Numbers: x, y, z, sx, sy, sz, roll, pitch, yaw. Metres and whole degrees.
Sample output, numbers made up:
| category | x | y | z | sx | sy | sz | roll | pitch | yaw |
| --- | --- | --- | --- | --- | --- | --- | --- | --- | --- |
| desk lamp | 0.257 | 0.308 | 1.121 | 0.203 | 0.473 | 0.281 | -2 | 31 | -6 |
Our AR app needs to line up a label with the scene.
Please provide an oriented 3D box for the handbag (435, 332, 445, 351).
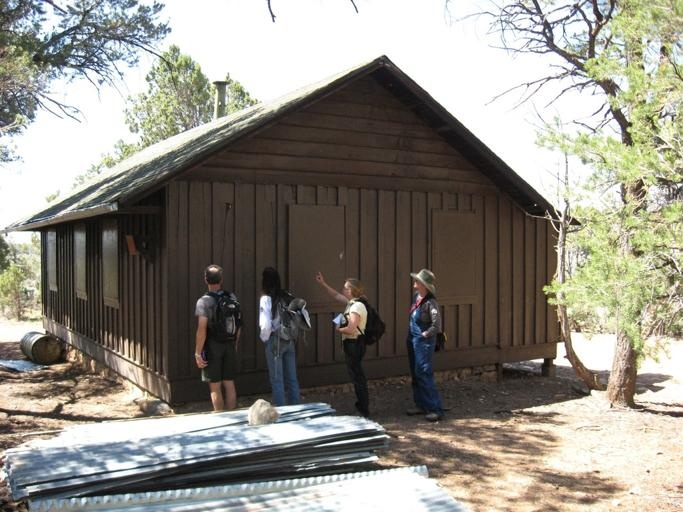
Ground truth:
| category | x | y | z | sx | sy | sz | roll | pitch | yaw |
| --- | --- | --- | --- | --- | --- | --- | --- | --- | --- |
| handbag | 1.549 | 1.339 | 11.177 | 0.134 | 0.282 | 0.311 | -3 | -4 | 4 |

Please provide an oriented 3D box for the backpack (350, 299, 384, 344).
| category | x | y | z | sx | sy | sz | roll | pitch | yaw |
| --- | --- | --- | --- | --- | --- | --- | --- | --- | --- |
| backpack | 0.437 | 1.026 | 11.025 | 0.581 | 0.695 | 0.450 | 0 | 0 | -11 |

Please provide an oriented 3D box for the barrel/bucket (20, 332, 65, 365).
| category | x | y | z | sx | sy | sz | roll | pitch | yaw |
| --- | --- | --- | --- | --- | --- | --- | --- | --- | --- |
| barrel/bucket | -6.910 | 2.114 | 16.239 | 0.889 | 0.753 | 0.758 | -5 | -5 | 20 |

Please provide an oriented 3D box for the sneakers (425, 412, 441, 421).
| category | x | y | z | sx | sy | sz | roll | pitch | yaw |
| --- | --- | --- | --- | --- | --- | --- | --- | --- | --- |
| sneakers | 1.453 | 2.545 | 11.176 | 0.218 | 0.109 | 0.118 | 16 | -13 | -38 |

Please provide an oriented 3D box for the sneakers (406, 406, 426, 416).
| category | x | y | z | sx | sy | sz | roll | pitch | yaw |
| --- | --- | --- | --- | --- | --- | --- | --- | --- | --- |
| sneakers | 1.219 | 2.527 | 11.524 | 0.338 | 0.166 | 0.130 | 9 | -8 | -22 |

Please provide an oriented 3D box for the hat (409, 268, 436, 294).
| category | x | y | z | sx | sy | sz | roll | pitch | yaw |
| --- | --- | --- | --- | --- | --- | --- | --- | --- | --- |
| hat | 1.286 | 0.394 | 11.013 | 0.296 | 0.387 | 0.314 | -4 | -4 | 16 |

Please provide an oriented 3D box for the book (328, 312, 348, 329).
| category | x | y | z | sx | sy | sz | roll | pitch | yaw |
| --- | --- | --- | --- | --- | --- | --- | --- | --- | --- |
| book | -0.027 | 0.980 | 10.864 | 0.254 | 0.303 | 0.268 | 13 | 1 | -15 |
